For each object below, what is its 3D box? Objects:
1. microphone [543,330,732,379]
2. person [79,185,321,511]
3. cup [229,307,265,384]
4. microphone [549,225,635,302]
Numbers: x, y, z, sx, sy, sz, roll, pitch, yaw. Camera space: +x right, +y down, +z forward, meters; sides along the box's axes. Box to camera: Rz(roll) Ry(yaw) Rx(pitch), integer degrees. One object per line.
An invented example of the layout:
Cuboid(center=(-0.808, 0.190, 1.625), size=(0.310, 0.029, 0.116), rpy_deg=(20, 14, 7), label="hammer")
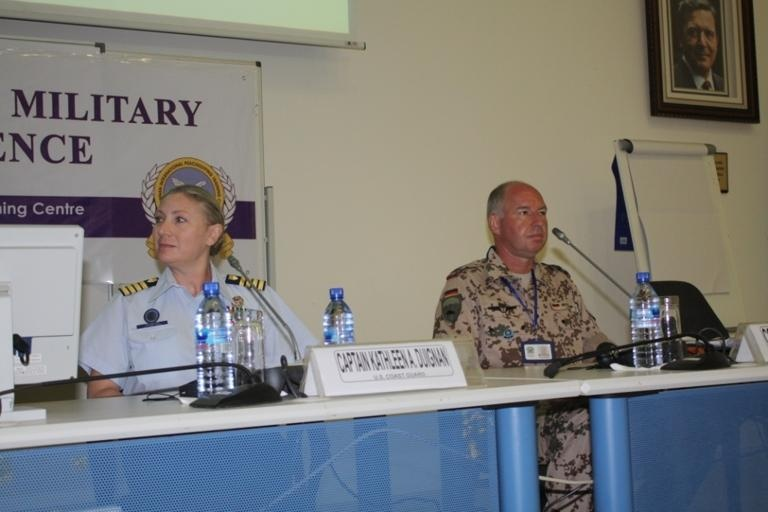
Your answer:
Cuboid(center=(0.905, 0.357, 2.503), size=(0.394, 0.113, 0.278), rpy_deg=(-15, -7, -11), label="microphone")
Cuboid(center=(-0.707, 0.307, 2.615), size=(0.857, 1.285, 0.440), rpy_deg=(-2, -16, -20), label="person")
Cuboid(center=(-0.510, 0.319, 2.669), size=(0.152, 0.245, 0.150), rpy_deg=(-4, -6, 0), label="cup")
Cuboid(center=(1.174, 0.038, 4.225), size=(0.057, 0.602, 0.050), rpy_deg=(-51, -14, 28), label="microphone")
